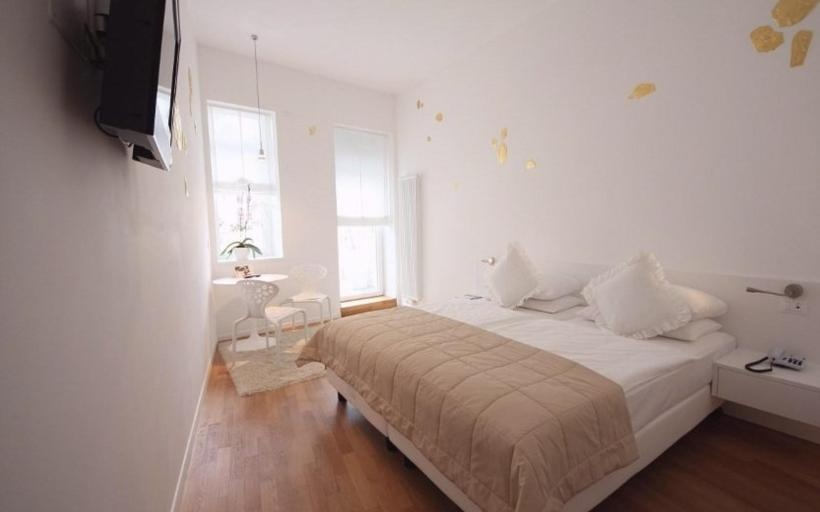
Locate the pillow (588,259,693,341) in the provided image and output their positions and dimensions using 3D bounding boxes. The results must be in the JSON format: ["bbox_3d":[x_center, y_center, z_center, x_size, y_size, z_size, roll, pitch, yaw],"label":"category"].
[{"bbox_3d":[1.896,0.371,4.180,0.640,0.664,0.180,-37,-30,20],"label":"pillow"}]

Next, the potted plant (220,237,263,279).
[{"bbox_3d":[-1.987,0.026,6.054,0.500,0.344,0.417,-1,0,3],"label":"potted plant"}]

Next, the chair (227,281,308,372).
[{"bbox_3d":[-1.533,0.630,5.521,0.582,0.882,0.644,3,9,21],"label":"chair"}]

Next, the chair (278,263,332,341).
[{"bbox_3d":[-1.424,0.664,6.519,0.635,0.931,0.634,-31,-21,36],"label":"chair"}]

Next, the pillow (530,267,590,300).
[{"bbox_3d":[1.418,0.323,4.901,0.342,0.151,0.352,-13,7,34],"label":"pillow"}]

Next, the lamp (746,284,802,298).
[{"bbox_3d":[2.905,0.278,3.989,0.227,0.118,0.133,6,16,31],"label":"lamp"}]

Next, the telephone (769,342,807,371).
[{"bbox_3d":[2.854,0.783,3.832,0.176,0.087,0.203,-26,23,-22],"label":"telephone"}]

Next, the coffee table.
[{"bbox_3d":[-1.827,0.578,5.735,0.785,0.561,0.785,1,10,5],"label":"coffee table"}]
